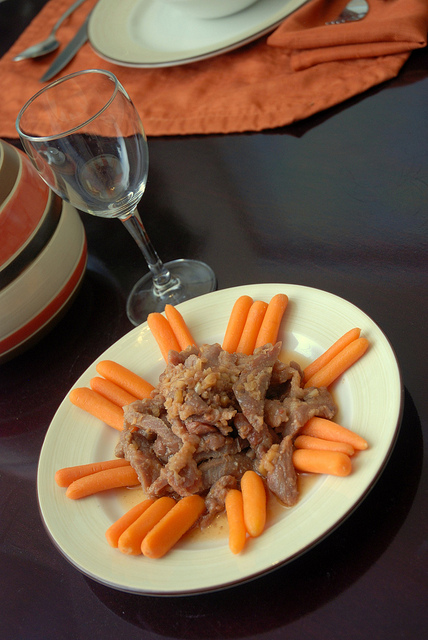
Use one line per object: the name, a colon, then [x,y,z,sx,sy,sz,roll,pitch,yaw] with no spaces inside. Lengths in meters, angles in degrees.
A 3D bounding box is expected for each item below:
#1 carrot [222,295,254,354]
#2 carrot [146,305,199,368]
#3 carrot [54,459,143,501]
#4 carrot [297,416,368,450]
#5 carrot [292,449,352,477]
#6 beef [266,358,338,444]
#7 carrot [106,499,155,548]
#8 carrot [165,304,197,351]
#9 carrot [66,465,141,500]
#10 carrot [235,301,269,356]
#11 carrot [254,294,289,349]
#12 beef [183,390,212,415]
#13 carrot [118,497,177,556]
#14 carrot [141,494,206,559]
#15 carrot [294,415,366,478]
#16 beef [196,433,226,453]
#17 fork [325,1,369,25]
carrot: [0.042,0.001,0.969,0.039,0.039,0.127,-2,48,30]
carrot: [-0.084,0.017,0.990,0.068,0.037,0.134,-31,41,7]
carrot: [-0.172,0.225,0.816,0.125,0.032,0.056,-7,21,-22]
carrot: [0.156,0.148,0.720,0.085,0.022,0.021,3,68,54]
carrot: [0.133,0.177,0.687,0.026,0.084,0.024,15,83,-25]
beef: [0.123,0.112,0.783,0.102,0.024,0.102,4,54,37]
carrot: [-0.118,0.274,0.748,0.025,0.097,0.024,-33,88,29]
carrot: [-0.057,0.010,0.989,0.047,0.073,0.047,19,30,36]
carrot: [-0.162,0.233,0.788,0.139,0.032,0.032,-10,72,-28]
carrot: [0.062,0.017,0.929,0.031,0.030,0.113,17,74,18]
carrot: [0.097,0.006,0.919,0.029,0.028,0.121,35,69,-10]
beef: [-0.025,0.115,0.757,0.024,0.010,0.038,-34,66,-19]
carrot: [-0.097,0.264,0.710,0.025,0.023,0.092,7,17,13]
carrot: [-0.053,0.251,0.696,0.030,0.030,0.111,7,21,21]
carrot: [0.143,0.171,0.714,0.085,0.025,0.088,-45,32,-21]
beef: [-0.005,0.175,0.771,0.032,0.008,0.026,-13,30,7]
fork: [0.332,-0.770,1.375,0.117,0.016,0.067,-28,49,-14]
